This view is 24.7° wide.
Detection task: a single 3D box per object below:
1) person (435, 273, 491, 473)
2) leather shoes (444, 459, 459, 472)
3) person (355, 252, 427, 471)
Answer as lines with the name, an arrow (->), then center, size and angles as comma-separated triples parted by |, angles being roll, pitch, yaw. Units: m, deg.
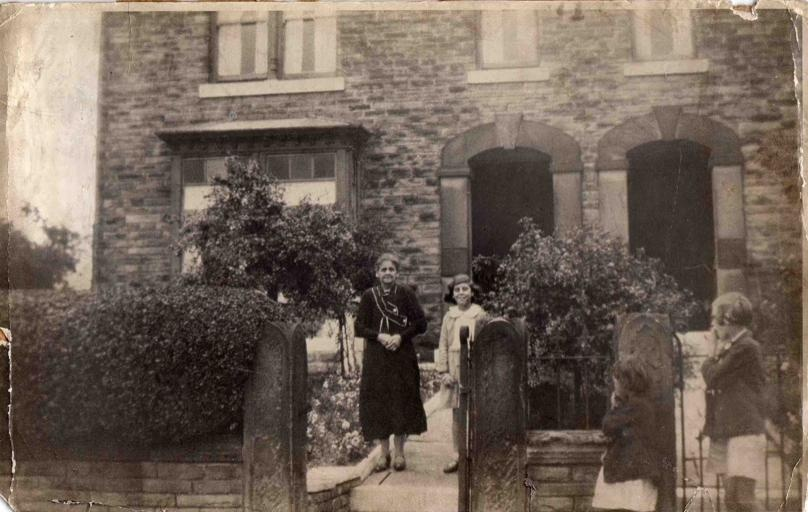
person -> 0.538, 1.125, 18.004 | 0.486, 1.954, 0.190 | -2, -5, -1
leather shoes -> 0.426, 2.045, 17.898 | 0.201, 0.087, 0.071 | -5, -10, 18
person -> -0.151, 1.029, 18.029 | 0.683, 2.121, 0.201 | -2, -5, -2
